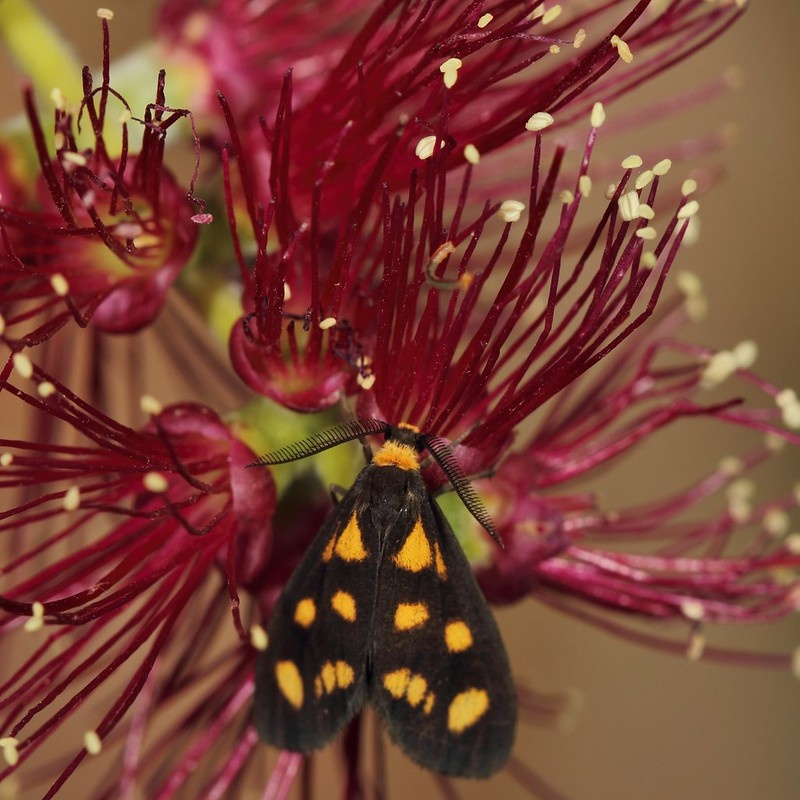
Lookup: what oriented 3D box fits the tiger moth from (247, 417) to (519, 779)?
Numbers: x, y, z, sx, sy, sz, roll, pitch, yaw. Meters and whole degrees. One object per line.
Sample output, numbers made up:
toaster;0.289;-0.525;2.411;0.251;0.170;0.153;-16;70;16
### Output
tiger moth;0.003;0.164;0.900;0.348;0.076;0.273;8;96;13
